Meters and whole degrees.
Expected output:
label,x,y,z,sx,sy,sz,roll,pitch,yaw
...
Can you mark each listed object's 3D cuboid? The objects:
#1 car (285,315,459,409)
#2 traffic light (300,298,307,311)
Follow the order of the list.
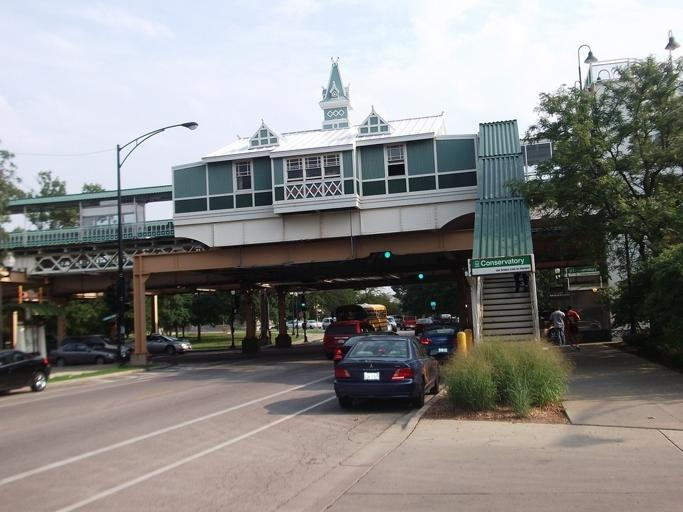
label,x,y,z,sx,sy,sz,roll,pitch,yaw
car,1.258,2.990,17.968,2.016,1.806,2.858,-5,-5,29
traffic light,-3.129,4.125,57.177,0.734,1.365,0.733,-1,0,2
